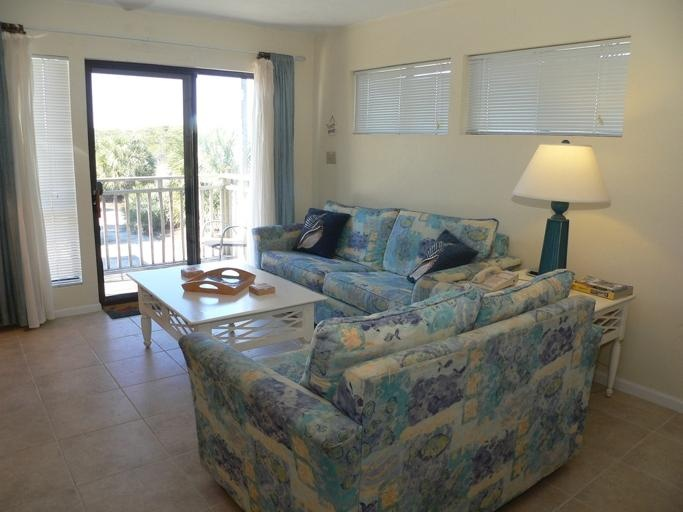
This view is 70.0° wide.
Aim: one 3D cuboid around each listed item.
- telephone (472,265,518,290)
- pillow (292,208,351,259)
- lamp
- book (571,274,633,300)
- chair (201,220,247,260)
[{"bbox_3d":[1.052,0.158,3.338,0.167,0.071,0.236,-21,13,-14],"label":"telephone"},{"bbox_3d":[-0.186,-0.237,4.867,0.504,0.473,0.156,15,-7,43],"label":"pillow"},{"bbox_3d":[1.489,-0.329,3.332,0.591,0.893,0.429,7,16,25],"label":"lamp"},{"bbox_3d":[1.780,0.217,3.353,0.256,0.059,0.235,-13,23,-42],"label":"book"},{"bbox_3d":[-1.364,-0.161,5.746,0.509,0.709,0.394,-5,16,-33],"label":"chair"}]
